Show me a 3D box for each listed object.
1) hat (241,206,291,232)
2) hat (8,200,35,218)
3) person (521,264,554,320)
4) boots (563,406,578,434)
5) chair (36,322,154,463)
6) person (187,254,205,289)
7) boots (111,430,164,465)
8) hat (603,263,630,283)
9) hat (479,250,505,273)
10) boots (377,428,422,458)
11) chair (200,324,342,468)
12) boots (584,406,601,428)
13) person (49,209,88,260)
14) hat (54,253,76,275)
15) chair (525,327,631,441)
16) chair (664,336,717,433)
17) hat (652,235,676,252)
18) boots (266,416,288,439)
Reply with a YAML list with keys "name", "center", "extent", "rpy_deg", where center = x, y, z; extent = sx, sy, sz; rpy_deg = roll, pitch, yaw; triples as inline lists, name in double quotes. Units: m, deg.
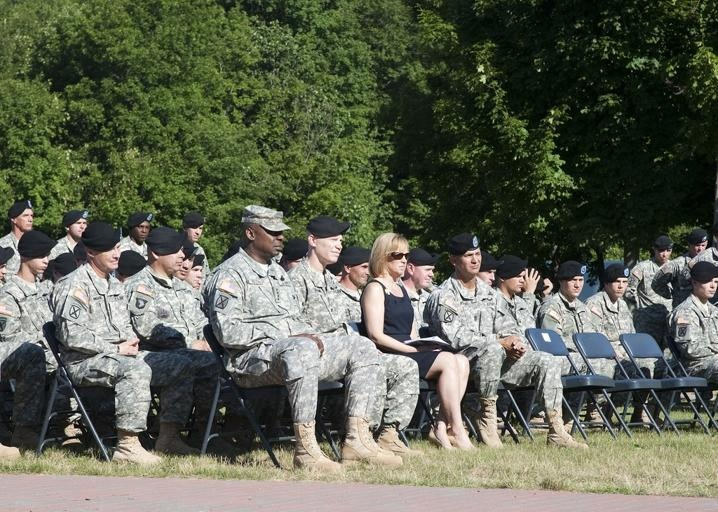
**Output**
- name: "hat"
  center: [-1.778, -0.665, 31.516]
  extent: [0.681, 0.228, 0.480]
  rpy_deg: [13, 7, 11]
- name: "hat"
  center: [-7.226, -0.945, 35.914]
  extent: [0.546, 0.264, 0.381]
  rpy_deg: [-11, 0, 24]
- name: "person"
  center: [4.098, 1.026, 37.899]
  extent: [0.404, 0.365, 1.258]
  rpy_deg: [-11, -45, 18]
- name: "boots"
  center: [4.278, 3.346, 34.720]
  extent: [0.412, 0.472, 0.501]
  rpy_deg: [0, -9, -3]
- name: "chair"
  center: [-5.031, 2.629, 31.941]
  extent: [1.996, 2.640, 1.349]
  rpy_deg: [1, -14, -10]
- name: "person"
  center: [-3.347, 0.350, 34.534]
  extent: [0.401, 0.740, 0.524]
  rpy_deg: [-7, -20, 17]
- name: "boots"
  center: [-4.041, 3.550, 31.293]
  extent: [1.040, 0.582, 0.362]
  rpy_deg: [1, -14, 19]
- name: "hat"
  center: [5.386, 0.411, 35.850]
  extent: [0.458, 0.219, 0.428]
  rpy_deg: [-13, -3, 27]
- name: "hat"
  center: [2.660, 0.151, 34.767]
  extent: [0.546, 0.283, 0.369]
  rpy_deg: [1, 11, 11]
- name: "boots"
  center: [0.818, 3.483, 31.693]
  extent: [1.023, 0.589, 0.353]
  rpy_deg: [5, -3, -1]
- name: "chair"
  center: [-1.482, 2.629, 31.383]
  extent: [2.788, 2.537, 2.855]
  rpy_deg: [1, -5, -33]
- name: "boots"
  center: [4.732, 3.247, 34.494]
  extent: [0.460, 0.400, 0.371]
  rpy_deg: [-1, 0, 19]
- name: "person"
  center: [-6.548, -0.477, 38.294]
  extent: [0.623, 1.003, 1.233]
  rpy_deg: [19, 25, 15]
- name: "hat"
  center: [-5.760, 0.208, 33.404]
  extent: [0.392, 0.362, 0.488]
  rpy_deg: [-10, 19, -27]
- name: "chair"
  center: [4.191, 2.451, 33.439]
  extent: [1.710, 2.015, 1.847]
  rpy_deg: [4, -4, -21]
- name: "chair"
  center: [6.722, 2.664, 34.643]
  extent: [0.985, 2.067, 1.610]
  rpy_deg: [-4, -14, 9]
- name: "hat"
  center: [6.886, -0.242, 38.358]
  extent: [0.403, 0.162, 0.300]
  rpy_deg: [-11, 19, -20]
- name: "boots"
  center: [-1.514, 3.245, 32.299]
  extent: [0.365, 0.347, 0.545]
  rpy_deg: [-4, -6, 36]
